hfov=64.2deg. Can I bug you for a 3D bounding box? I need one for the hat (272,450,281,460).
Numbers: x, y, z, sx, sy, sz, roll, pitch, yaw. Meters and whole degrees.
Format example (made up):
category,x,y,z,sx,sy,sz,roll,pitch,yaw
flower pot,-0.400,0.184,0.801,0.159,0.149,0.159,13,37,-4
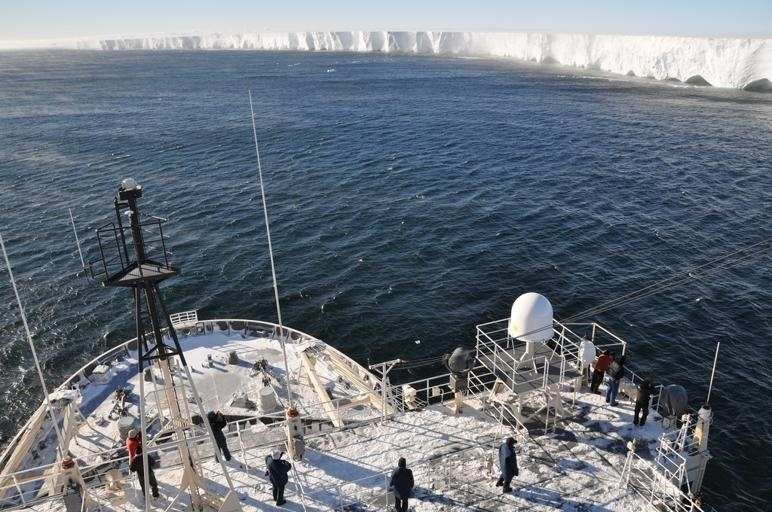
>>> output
category,x,y,z,sx,sy,sz,roll,pitch,yaw
hat,-7.875,14.339,44.086,0.952,0.304,1.086,1,15,-2
